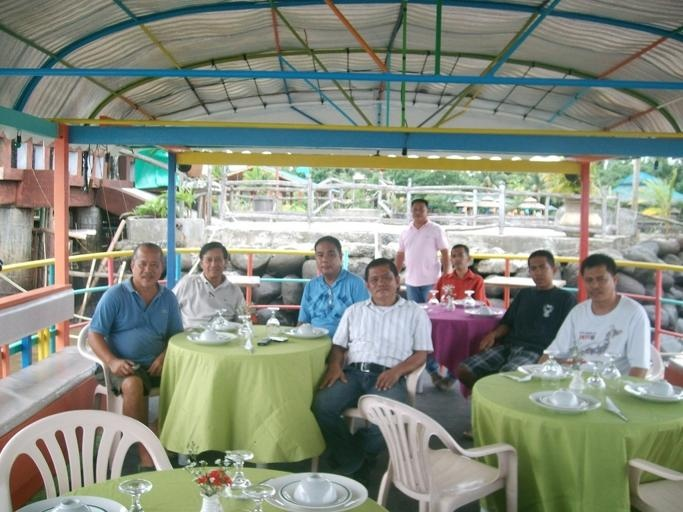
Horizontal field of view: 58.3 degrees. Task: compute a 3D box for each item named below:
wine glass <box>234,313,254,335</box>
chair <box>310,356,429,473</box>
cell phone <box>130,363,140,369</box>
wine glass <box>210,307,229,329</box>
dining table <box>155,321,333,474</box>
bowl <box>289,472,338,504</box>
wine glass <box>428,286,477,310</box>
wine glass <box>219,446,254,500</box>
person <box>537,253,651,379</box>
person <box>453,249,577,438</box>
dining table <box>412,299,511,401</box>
[{"bbox_3d":[-0.760,0.539,4.799,0.192,0.188,0.187,1,2,-6],"label":"wine glass"},{"bbox_3d":[0.078,1.187,4.830,0.804,1.022,0.786,3,2,28],"label":"chair"},{"bbox_3d":[-1.650,0.880,4.890,0.053,0.044,0.140,2,-2,-15],"label":"cell phone"},{"bbox_3d":[-1.099,0.549,5.420,0.165,0.164,0.157,3,-2,0],"label":"wine glass"},{"bbox_3d":[-0.784,1.151,5.019,1.469,0.806,1.505,1,-3,-42],"label":"dining table"},{"bbox_3d":[-0.121,1.061,2.793,0.198,0.091,0.087,2,-1,-4],"label":"bowl"},{"bbox_3d":[1.191,0.486,6.620,0.333,0.105,0.314,-3,4,-35],"label":"wine glass"},{"bbox_3d":[-0.471,0.991,2.850,0.218,0.224,0.208,1,-2,1],"label":"wine glass"},{"bbox_3d":[1.872,0.471,4.506,0.790,0.945,0.699,1,-3,43],"label":"person"},{"bbox_3d":[1.484,0.750,5.386,0.963,1.508,0.742,1,8,-21],"label":"person"},{"bbox_3d":[1.210,0.925,6.196,0.890,0.632,0.862,0,1,-8],"label":"dining table"}]
